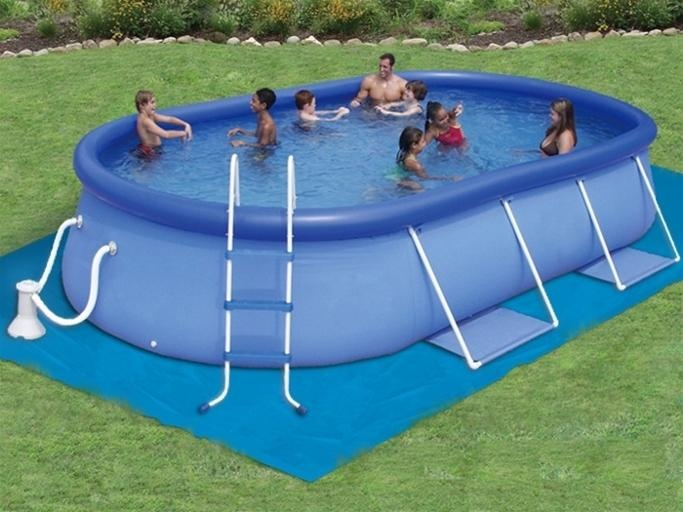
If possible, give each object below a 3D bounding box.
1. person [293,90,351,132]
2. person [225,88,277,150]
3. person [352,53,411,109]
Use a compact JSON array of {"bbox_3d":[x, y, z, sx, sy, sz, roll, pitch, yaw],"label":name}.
[{"bbox_3d":[-0.312,-1.983,8.636,0.367,0.525,0.817,30,48,26],"label":"person"},{"bbox_3d":[-1.087,-1.696,7.897,0.604,0.825,0.759,-2,42,-6],"label":"person"},{"bbox_3d":[0.547,-2.407,9.208,0.907,0.816,0.448,-3,33,-2],"label":"person"}]
